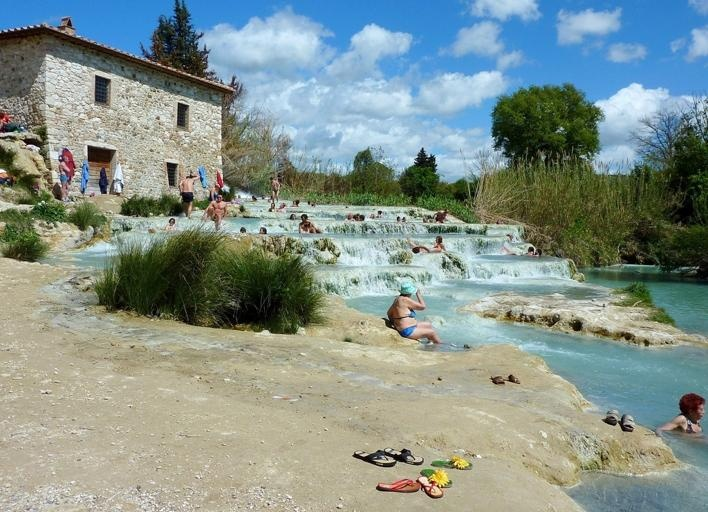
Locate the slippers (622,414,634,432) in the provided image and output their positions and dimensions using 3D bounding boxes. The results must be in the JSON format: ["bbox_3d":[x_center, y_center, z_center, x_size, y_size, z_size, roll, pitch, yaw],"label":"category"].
[{"bbox_3d":[2.877,1.767,5.220,0.126,0.139,0.160,6,-15,8],"label":"slippers"}]

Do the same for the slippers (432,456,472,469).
[{"bbox_3d":[0.749,1.593,3.785,0.176,0.041,0.127,-2,-1,4],"label":"slippers"}]

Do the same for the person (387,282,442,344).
[{"bbox_3d":[1.142,1.158,8.745,1.214,1.396,0.585,-3,7,0],"label":"person"}]

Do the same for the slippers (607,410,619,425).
[{"bbox_3d":[2.754,1.725,5.258,0.097,0.118,0.123,27,50,31],"label":"slippers"}]

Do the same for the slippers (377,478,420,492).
[{"bbox_3d":[0.304,1.571,3.365,0.201,0.042,0.110,-1,2,0],"label":"slippers"}]

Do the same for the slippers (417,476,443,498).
[{"bbox_3d":[0.528,1.598,3.411,0.197,0.083,0.143,10,5,29],"label":"slippers"}]

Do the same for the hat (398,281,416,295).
[{"bbox_3d":[0.971,0.568,8.715,0.268,0.134,0.261,10,24,29],"label":"hat"}]

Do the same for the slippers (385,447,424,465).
[{"bbox_3d":[0.388,1.518,3.742,0.255,0.063,0.114,3,3,33],"label":"slippers"}]

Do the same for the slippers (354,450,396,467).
[{"bbox_3d":[0.149,1.477,3.647,0.228,0.050,0.121,-1,-1,36],"label":"slippers"}]
